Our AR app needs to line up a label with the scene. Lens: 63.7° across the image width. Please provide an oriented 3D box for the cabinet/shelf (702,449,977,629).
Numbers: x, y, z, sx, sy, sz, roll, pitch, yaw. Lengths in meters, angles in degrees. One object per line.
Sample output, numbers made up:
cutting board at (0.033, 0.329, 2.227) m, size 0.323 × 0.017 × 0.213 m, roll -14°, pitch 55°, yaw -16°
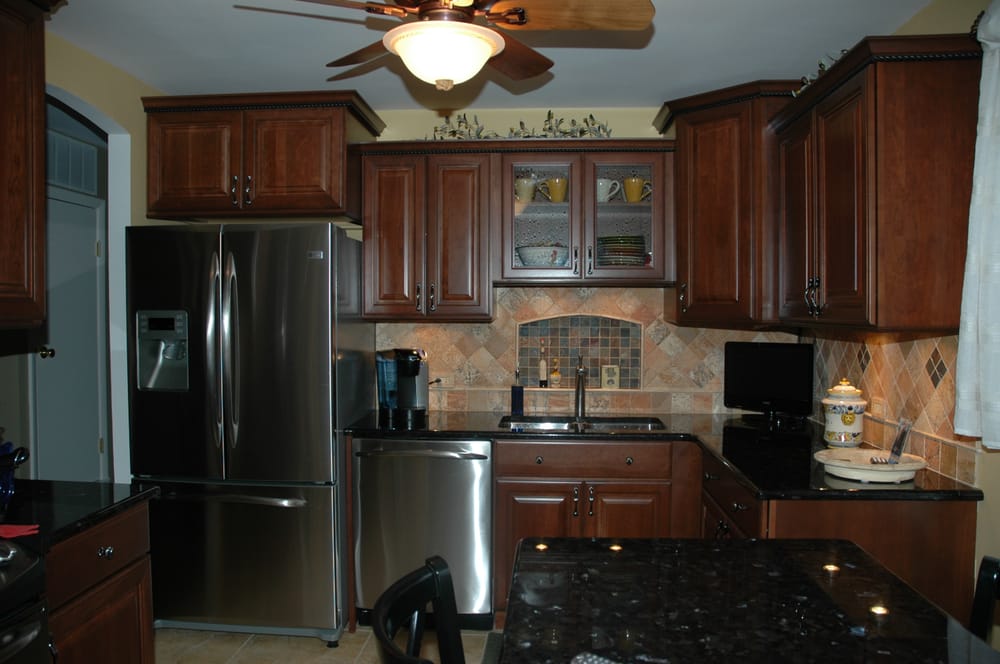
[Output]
cabinet/shelf at (1.753, 1.088, 3.773) m, size 1.088 × 0.692 × 0.617 m, roll 3°, pitch -1°, yaw 7°

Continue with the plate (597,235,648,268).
plate at (0.708, -0.474, 4.687) m, size 0.331 × 0.200 × 0.184 m, roll 1°, pitch 4°, yaw 9°

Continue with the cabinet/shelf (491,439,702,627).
cabinet/shelf at (0.468, 0.857, 3.598) m, size 1.113 × 0.879 × 0.409 m, roll 0°, pitch -5°, yaw 3°

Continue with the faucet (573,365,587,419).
faucet at (0.495, 0.370, 4.936) m, size 0.079 × 0.325 × 0.210 m, roll 0°, pitch 0°, yaw 5°

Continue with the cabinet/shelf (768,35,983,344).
cabinet/shelf at (1.849, -0.607, 4.046) m, size 0.613 × 1.245 × 1.324 m, roll -1°, pitch 1°, yaw 4°

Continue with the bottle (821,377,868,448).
bottle at (1.707, 0.400, 4.009) m, size 0.177 × 0.328 × 0.145 m, roll 0°, pitch 0°, yaw 5°

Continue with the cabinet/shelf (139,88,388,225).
cabinet/shelf at (-1.337, -1.005, 4.931) m, size 1.427 × 0.730 × 0.788 m, roll 3°, pitch 3°, yaw 16°

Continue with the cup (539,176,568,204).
cup at (0.318, -0.843, 4.787) m, size 0.188 × 0.127 × 0.153 m, roll 1°, pitch 4°, yaw 10°

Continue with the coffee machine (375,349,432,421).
coffee machine at (-0.582, 0.304, 4.866) m, size 0.411 × 0.422 × 0.374 m, roll -2°, pitch 4°, yaw 37°

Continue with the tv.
tv at (1.570, 0.314, 4.648) m, size 0.558 × 0.508 × 0.201 m, roll 0°, pitch -1°, yaw 29°

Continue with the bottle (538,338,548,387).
bottle at (0.274, 0.191, 5.021) m, size 0.061 × 0.298 × 0.040 m, roll 0°, pitch 0°, yaw 3°

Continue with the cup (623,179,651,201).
cup at (0.794, -0.837, 4.696) m, size 0.162 × 0.105 × 0.112 m, roll 1°, pitch -1°, yaw 0°

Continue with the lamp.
lamp at (-0.224, -1.158, 3.193) m, size 0.571 × 0.264 × 0.542 m, roll 0°, pitch -7°, yaw 0°

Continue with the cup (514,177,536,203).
cup at (0.147, -0.842, 4.722) m, size 0.146 × 0.147 × 0.139 m, roll 1°, pitch -7°, yaw 0°

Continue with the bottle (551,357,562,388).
bottle at (0.345, 0.249, 5.014) m, size 0.070 × 0.193 × 0.044 m, roll 0°, pitch 0°, yaw -4°
